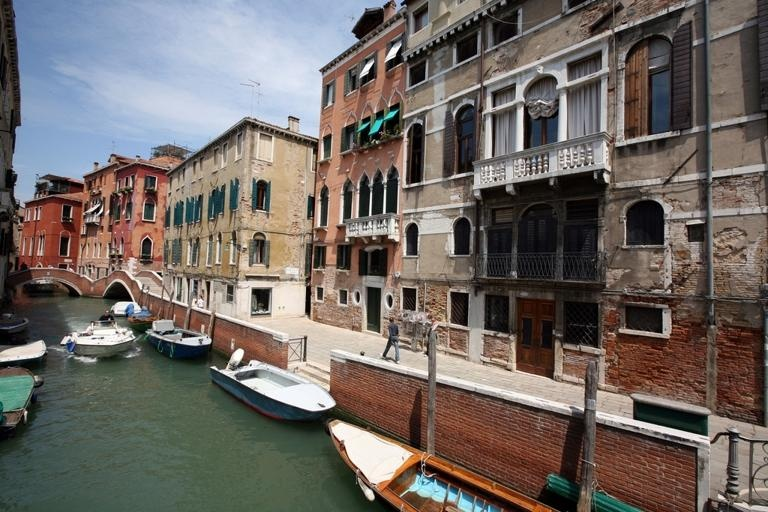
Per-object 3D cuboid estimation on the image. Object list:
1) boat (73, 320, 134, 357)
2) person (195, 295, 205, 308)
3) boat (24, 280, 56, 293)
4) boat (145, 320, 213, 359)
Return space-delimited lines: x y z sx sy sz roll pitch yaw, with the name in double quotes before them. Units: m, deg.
"boat" -18.209 5.267 33.451 2.127 1.653 3.588 -1 6 -43
"person" -14.613 3.592 41.604 0.887 0.618 0.389 -7 -31 26
"boat" -42.552 3.808 64.773 2.557 1.219 3.385 -1 -6 8
"boat" -13.283 5.390 33.873 1.981 2.041 5.496 0 -1 -44
